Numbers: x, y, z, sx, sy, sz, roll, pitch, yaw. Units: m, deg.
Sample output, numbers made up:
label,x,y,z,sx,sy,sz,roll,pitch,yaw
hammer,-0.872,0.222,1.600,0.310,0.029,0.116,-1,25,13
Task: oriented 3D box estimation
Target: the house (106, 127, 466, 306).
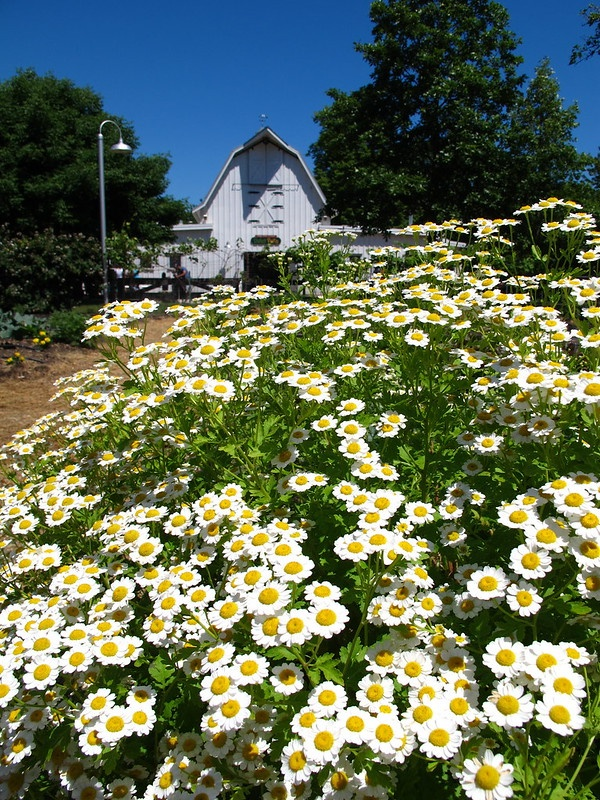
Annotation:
label,x,y,z,sx,sy,sz,roll,pitch,yaw
house,-2.134,-9.963,32.623,13.801,7.709,7.057,0,19,-12
